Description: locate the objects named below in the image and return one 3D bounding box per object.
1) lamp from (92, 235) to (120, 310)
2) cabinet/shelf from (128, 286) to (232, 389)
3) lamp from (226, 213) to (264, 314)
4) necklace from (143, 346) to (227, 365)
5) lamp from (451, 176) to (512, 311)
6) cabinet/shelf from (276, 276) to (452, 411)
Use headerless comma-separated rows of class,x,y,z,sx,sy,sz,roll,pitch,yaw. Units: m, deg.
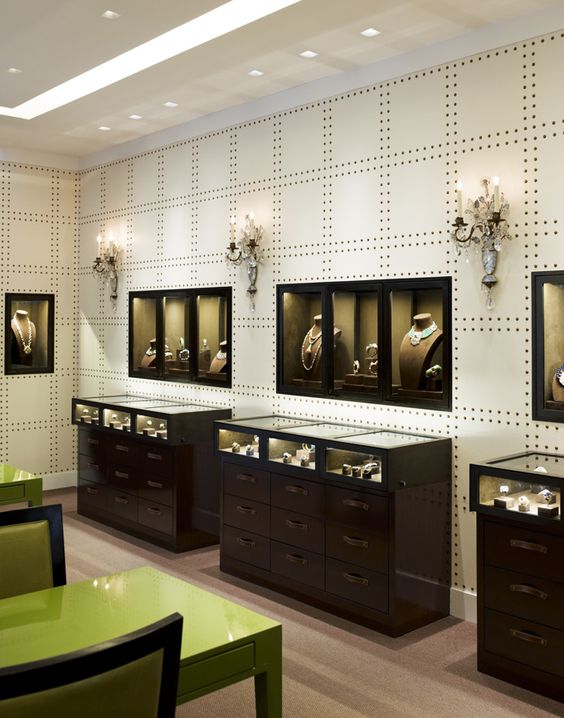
lamp,-2.043,-1.029,6.876,0.155,0.808,0.390,8,14,20
cabinet/shelf,-1.014,-0.249,5.894,1.100,0.927,0.270,3,6,21
lamp,-0.336,-0.867,5.171,0.131,0.839,0.496,1,-2,-33
necklace,-0.898,-0.059,5.620,0.974,0.206,0.245,1,4,36
lamp,1.191,-0.716,3.531,0.359,0.801,0.218,-1,-2,29
cabinet/shelf,0.576,-0.170,4.339,1.140,0.994,0.377,4,17,23
